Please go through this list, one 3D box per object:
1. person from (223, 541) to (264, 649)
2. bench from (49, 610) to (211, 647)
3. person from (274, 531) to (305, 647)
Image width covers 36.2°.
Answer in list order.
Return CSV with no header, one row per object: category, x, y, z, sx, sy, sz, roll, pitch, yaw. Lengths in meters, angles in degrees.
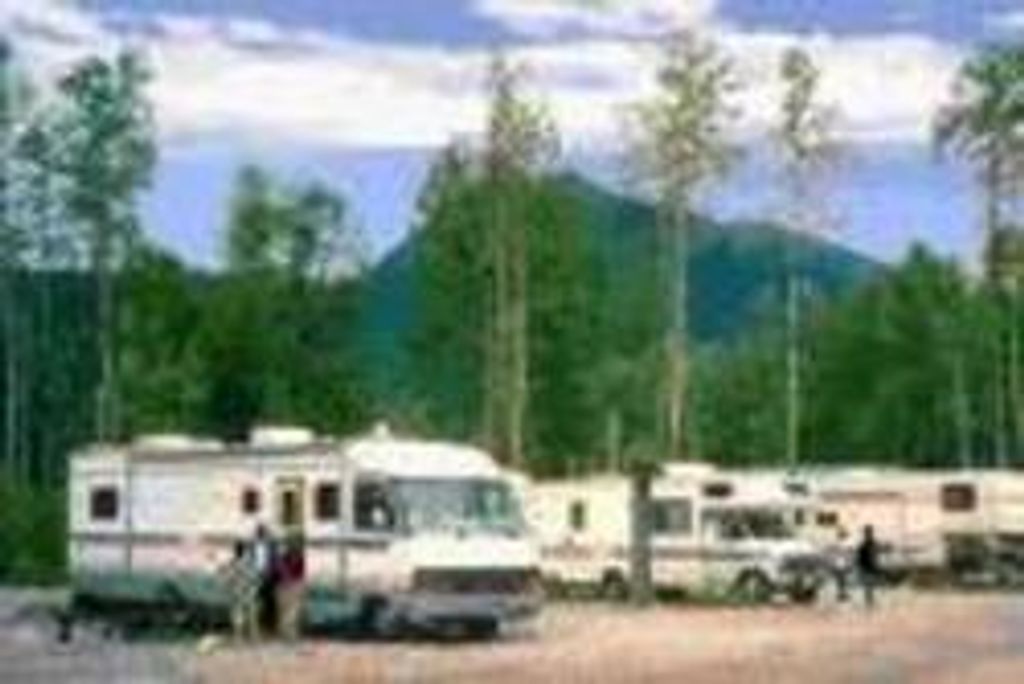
person,-7.064,6.589,41.309,0.731,2.697,0.928,1,-3,-10
bench,-10.744,7.678,43.169,3.182,1.284,2.623,1,10,-5
person,-5.749,6.367,41.037,0.609,2.923,0.719,0,11,-7
